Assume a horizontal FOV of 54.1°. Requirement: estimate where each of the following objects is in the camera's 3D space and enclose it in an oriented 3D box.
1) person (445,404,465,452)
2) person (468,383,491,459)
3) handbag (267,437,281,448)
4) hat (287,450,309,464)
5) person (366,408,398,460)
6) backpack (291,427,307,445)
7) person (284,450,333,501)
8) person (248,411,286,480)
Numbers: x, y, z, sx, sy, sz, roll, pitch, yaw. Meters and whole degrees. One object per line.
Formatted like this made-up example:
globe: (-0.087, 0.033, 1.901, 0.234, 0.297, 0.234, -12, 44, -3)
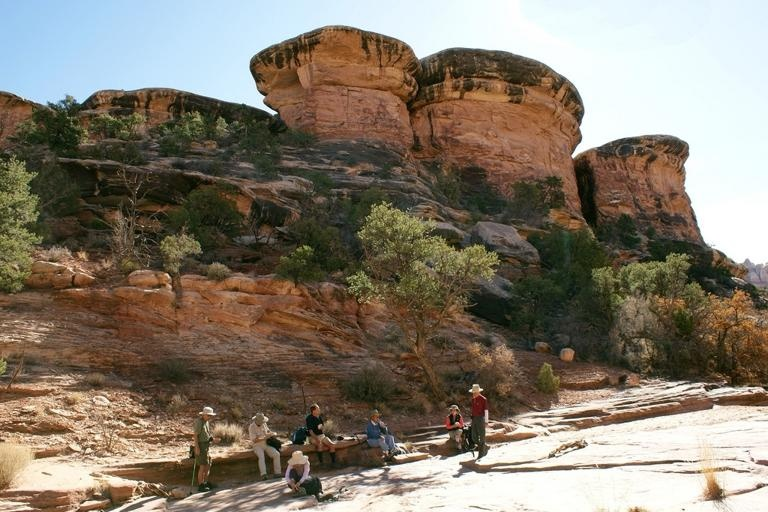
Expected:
person: (2.724, 6.631, 28.712, 0.646, 1.697, 0.741, -9, 11, -10)
person: (3.464, 6.155, 27.670, 0.652, 2.582, 1.550, -6, 11, 5)
handbag: (-4.020, 6.995, 27.462, 0.340, 0.461, 0.139, -42, 3, 42)
hat: (-2.926, 7.010, 25.745, 0.480, 0.224, 0.539, -1, 4, 4)
person: (-0.151, 6.809, 28.087, 1.136, 1.757, 0.783, -4, 11, 14)
backpack: (-3.160, 6.843, 28.085, 0.464, 0.655, 0.669, -3, -19, -14)
person: (-2.814, 7.619, 25.513, 1.436, 1.474, 1.027, 11, 18, 42)
person: (-4.348, 7.014, 27.300, 0.982, 2.228, 0.924, -9, 11, -10)
